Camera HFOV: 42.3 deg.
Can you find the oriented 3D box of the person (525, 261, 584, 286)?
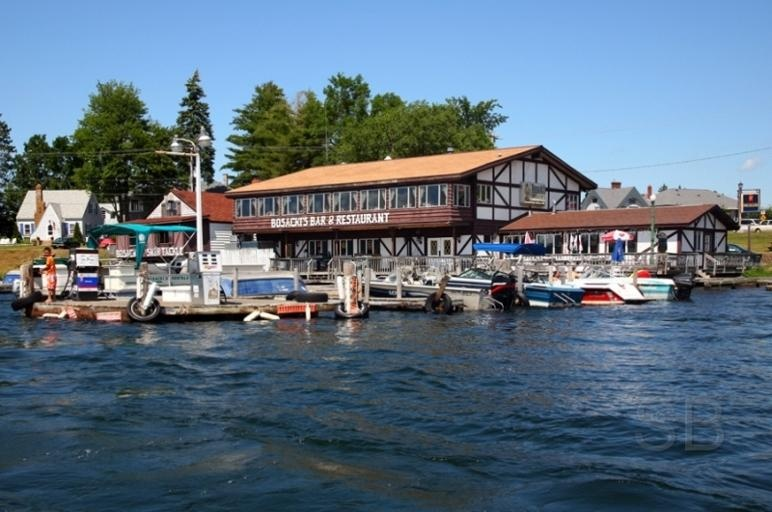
[{"bbox_3d":[8.311,0.810,50.167,1.633,0.665,2.100,0,-1,-30],"label":"person"}]
